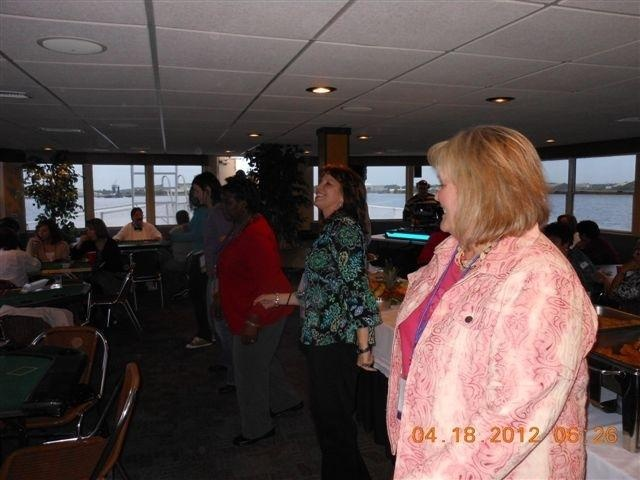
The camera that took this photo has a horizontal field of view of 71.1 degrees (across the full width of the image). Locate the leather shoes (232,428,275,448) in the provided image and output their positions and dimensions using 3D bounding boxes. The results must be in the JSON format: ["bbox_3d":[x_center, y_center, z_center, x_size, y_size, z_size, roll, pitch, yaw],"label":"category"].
[{"bbox_3d":[-0.466,1.335,3.046,0.317,0.072,0.105,4,-21,-26],"label":"leather shoes"}]

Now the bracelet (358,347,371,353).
[{"bbox_3d":[0.204,0.522,2.125,0.060,0.038,0.037,-4,11,7],"label":"bracelet"}]

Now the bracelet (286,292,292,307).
[{"bbox_3d":[-0.186,0.351,2.655,0.015,0.049,0.042,9,12,5],"label":"bracelet"}]

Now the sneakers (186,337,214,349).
[{"bbox_3d":[-1.325,1.131,4.906,0.313,0.103,0.097,4,1,-17],"label":"sneakers"}]

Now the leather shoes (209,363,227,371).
[{"bbox_3d":[-0.979,1.206,4.258,0.152,0.054,0.059,9,-6,-10],"label":"leather shoes"}]

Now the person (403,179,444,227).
[{"bbox_3d":[2.072,-0.695,8.993,0.870,1.015,0.624,0,-1,-1],"label":"person"}]

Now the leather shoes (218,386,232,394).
[{"bbox_3d":[-0.804,1.277,3.798,0.133,0.047,0.042,12,-6,-33],"label":"leather shoes"}]

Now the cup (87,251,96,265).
[{"bbox_3d":[-2.923,0.236,5.742,0.178,0.151,0.160,-1,3,-25],"label":"cup"}]
